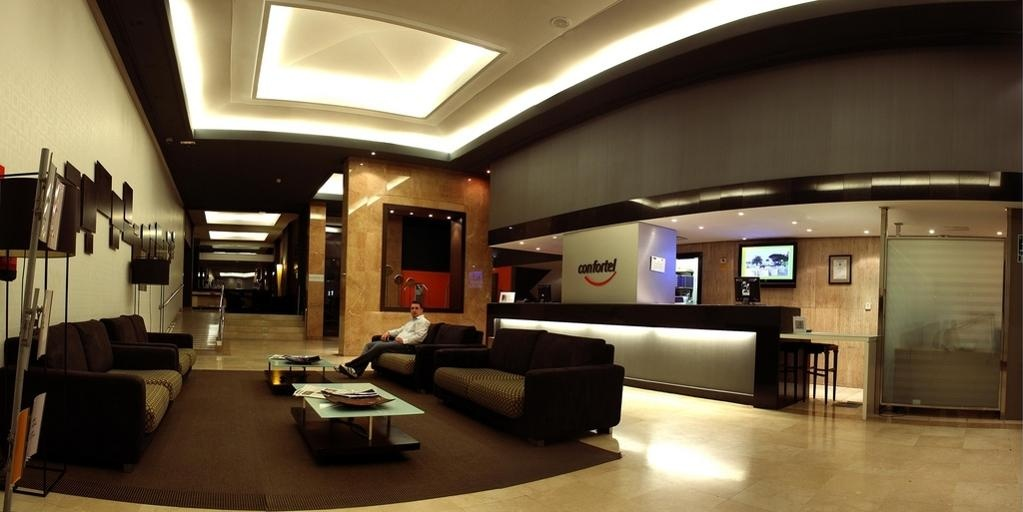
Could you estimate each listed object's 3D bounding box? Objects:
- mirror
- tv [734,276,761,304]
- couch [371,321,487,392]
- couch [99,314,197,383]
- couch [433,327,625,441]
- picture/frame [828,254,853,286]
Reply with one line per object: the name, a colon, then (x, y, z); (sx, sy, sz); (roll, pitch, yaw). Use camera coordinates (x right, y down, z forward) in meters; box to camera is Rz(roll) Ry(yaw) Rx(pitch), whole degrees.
mirror: (-2.660, 0.110, 18.752); (3.264, 3.458, 0.311); (5, -10, -29)
tv: (5.259, 0.779, 13.921); (0.760, 0.684, 0.274); (1, 3, 17)
couch: (-1.681, 2.103, 13.443); (1.469, 1.045, 2.298); (2, -6, -26)
couch: (-7.353, 1.677, 13.036); (2.618, 1.602, 1.271); (0, 0, -7)
couch: (0.059, 2.324, 12.065); (2.141, 1.494, 3.642); (-1, 1, -32)
picture/frame: (7.915, 0.331, 15.064); (0.563, 0.731, 0.201); (9, 16, 22)
